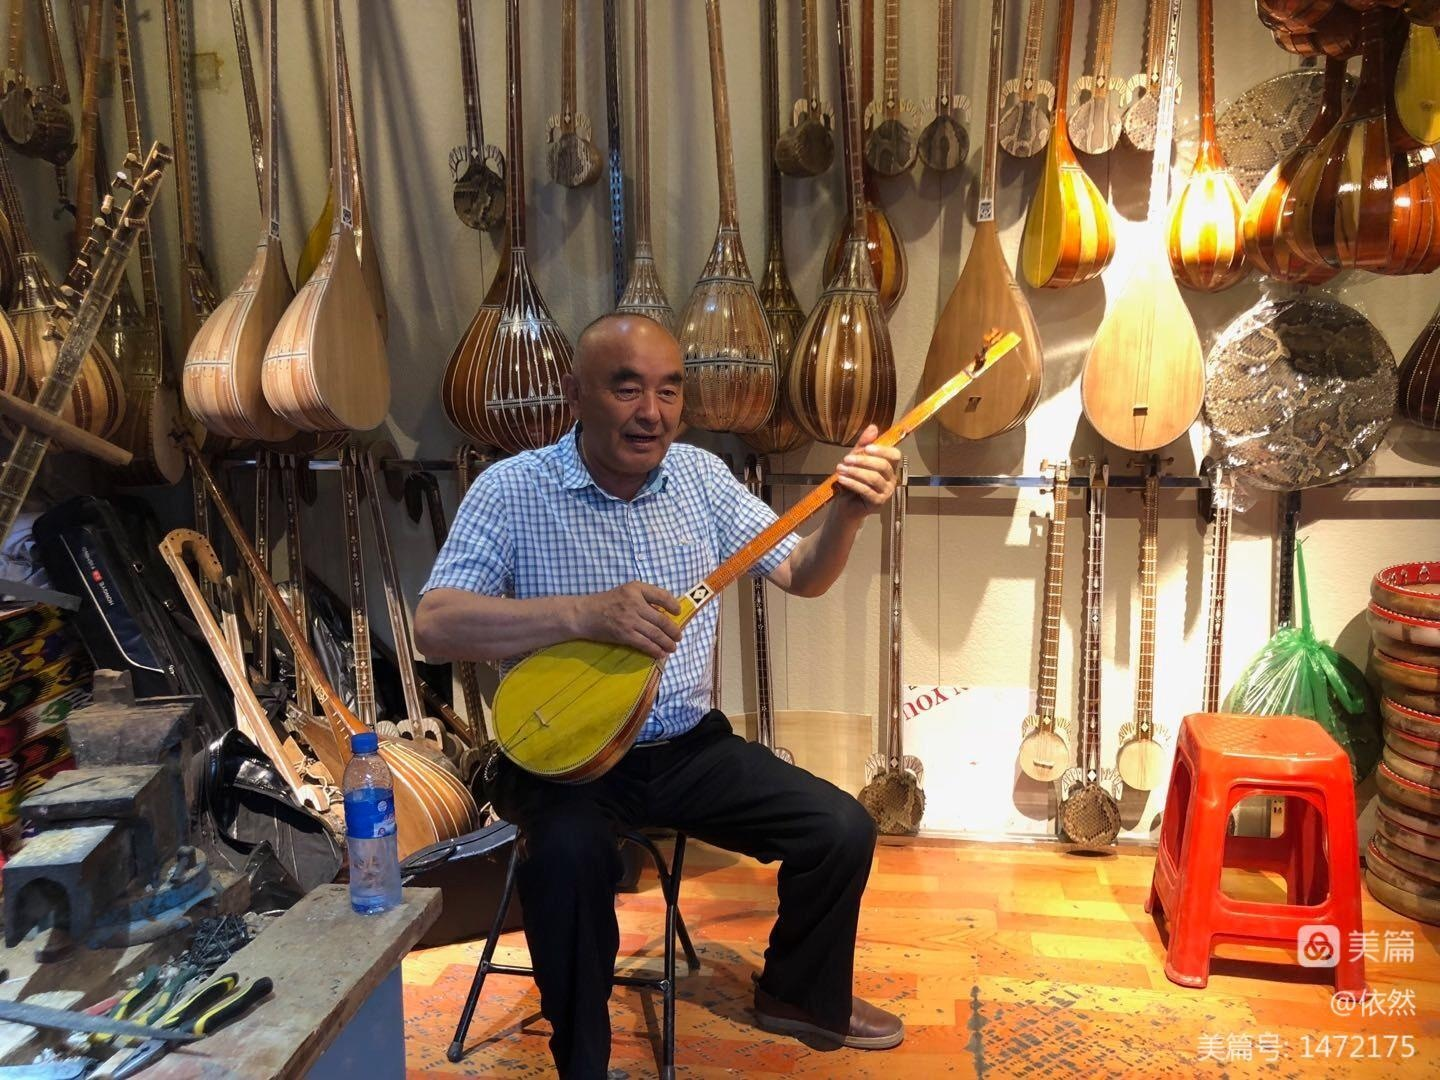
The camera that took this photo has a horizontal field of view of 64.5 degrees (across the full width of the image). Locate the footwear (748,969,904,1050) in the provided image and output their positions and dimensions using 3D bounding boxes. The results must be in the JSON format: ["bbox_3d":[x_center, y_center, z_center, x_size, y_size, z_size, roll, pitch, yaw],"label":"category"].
[{"bbox_3d":[0.263,1.150,2.860,0.425,0.195,0.165,2,-12,31],"label":"footwear"}]

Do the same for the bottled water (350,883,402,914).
[{"bbox_3d":[-0.641,0.659,2.119,0.094,0.047,0.063,-4,9,-15],"label":"bottled water"}]

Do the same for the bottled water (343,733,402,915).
[{"bbox_3d":[-0.667,0.551,2.182,0.107,0.380,0.136,0,2,8],"label":"bottled water"}]

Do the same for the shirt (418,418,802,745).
[{"bbox_3d":[-0.287,0.008,2.745,0.771,0.837,0.619,0,15,-19],"label":"shirt"}]

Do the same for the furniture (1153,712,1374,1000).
[{"bbox_3d":[1.412,0.813,3.014,0.496,0.613,0.377,0,9,10],"label":"furniture"}]
